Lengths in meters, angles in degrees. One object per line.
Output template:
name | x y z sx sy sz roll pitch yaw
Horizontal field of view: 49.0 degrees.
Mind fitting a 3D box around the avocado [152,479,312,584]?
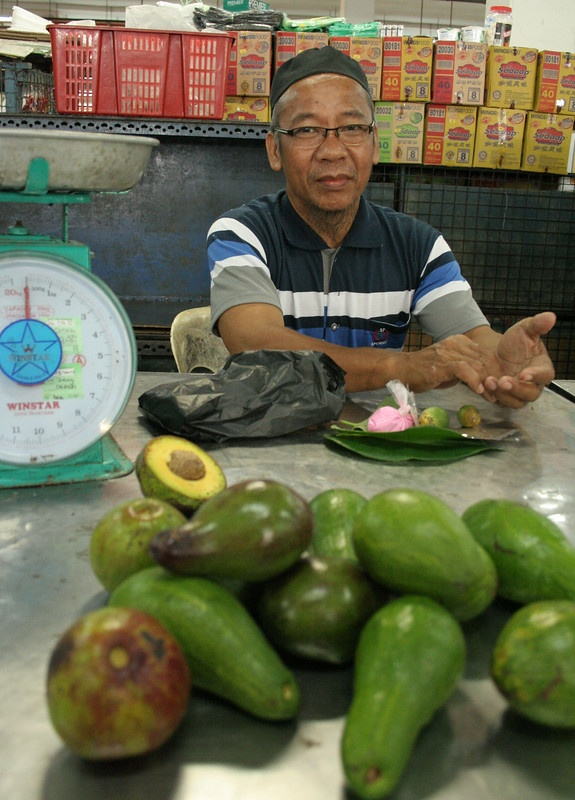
avocado | -0.025 0.063 0.335 0.078 0.037 0.042 -8 -20 -36

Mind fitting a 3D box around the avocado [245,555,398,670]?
avocado | 0.022 0.110 0.351 0.078 0.047 0.059 -1 17 -40

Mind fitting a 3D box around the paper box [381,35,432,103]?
paper box | 0.494 -1.365 2.631 0.279 0.259 0.256 -1 29 -1

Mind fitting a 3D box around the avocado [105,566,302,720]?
avocado | -0.040 0.111 0.332 0.096 0.040 0.051 38 46 15

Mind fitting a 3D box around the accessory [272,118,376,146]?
accessory | 0.080 -0.573 1.375 0.209 0.053 0.077 0 10 1

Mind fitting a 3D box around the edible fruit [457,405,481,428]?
edible fruit | 0.257 0.023 0.892 0.029 0.030 0.036 3 11 14

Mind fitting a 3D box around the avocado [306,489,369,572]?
avocado | 0.031 0.099 0.423 0.048 0.019 0.060 1 -27 12

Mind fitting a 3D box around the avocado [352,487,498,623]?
avocado | 0.076 0.077 0.357 0.093 0.061 0.069 -11 -30 44

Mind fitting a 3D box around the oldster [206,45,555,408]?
oldster | 0.165 -0.394 1.308 0.644 0.682 0.754 -1 10 -8

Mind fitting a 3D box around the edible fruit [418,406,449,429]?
edible fruit | 0.199 0.026 0.864 0.040 0.028 0.028 6 -16 -18

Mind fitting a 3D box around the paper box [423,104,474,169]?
paper box | 0.695 -1.138 2.801 0.247 0.228 0.249 2 4 8

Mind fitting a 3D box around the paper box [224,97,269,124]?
paper box | -0.148 -1.121 2.441 0.204 0.089 0.101 3 11 7

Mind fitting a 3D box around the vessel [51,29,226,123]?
vessel | -0.491 -1.118 2.165 0.477 0.189 0.298 -4 32 -12

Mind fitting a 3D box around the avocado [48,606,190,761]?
avocado | -0.065 0.113 0.284 0.067 0.057 0.062 -7 -9 -9

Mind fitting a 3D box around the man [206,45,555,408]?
man | 0.165 -0.393 1.307 0.644 0.682 0.755 -1 10 -8

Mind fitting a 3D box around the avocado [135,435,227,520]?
avocado | -0.091 0.065 0.520 0.069 0.042 0.069 2 41 -45

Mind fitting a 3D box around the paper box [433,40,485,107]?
paper box | 0.716 -1.370 2.698 0.269 0.242 0.247 0 20 -1
